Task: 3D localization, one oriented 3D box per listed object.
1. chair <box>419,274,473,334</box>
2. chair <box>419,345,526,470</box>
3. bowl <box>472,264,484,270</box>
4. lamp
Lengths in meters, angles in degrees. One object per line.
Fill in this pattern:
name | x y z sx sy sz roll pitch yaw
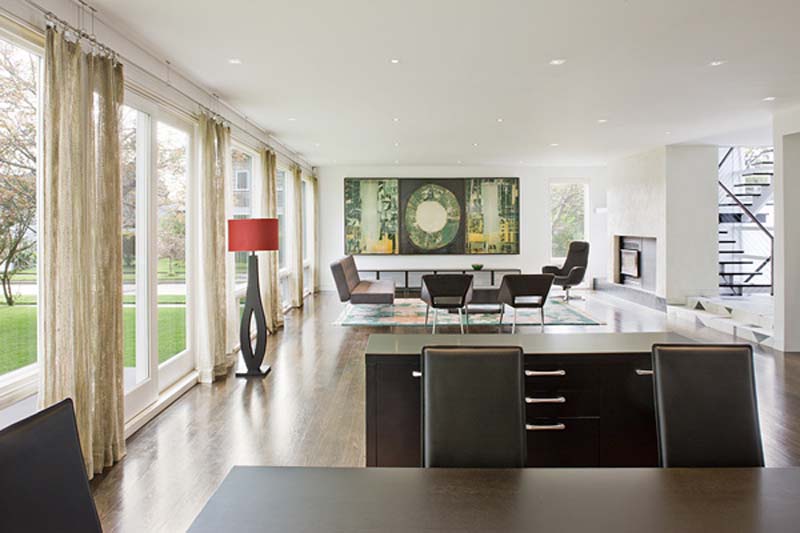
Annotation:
chair | 0.705 0.527 7.907 0.736 0.852 1.163 0 2 5
chair | 0.387 0.809 3.170 0.595 0.890 0.632 0 -6 5
bowl | 1.658 0.016 11.097 0.182 0.126 0.362 0 2 12
lamp | -1.732 0.330 6.197 0.533 1.809 1.317 -1 2 -14
